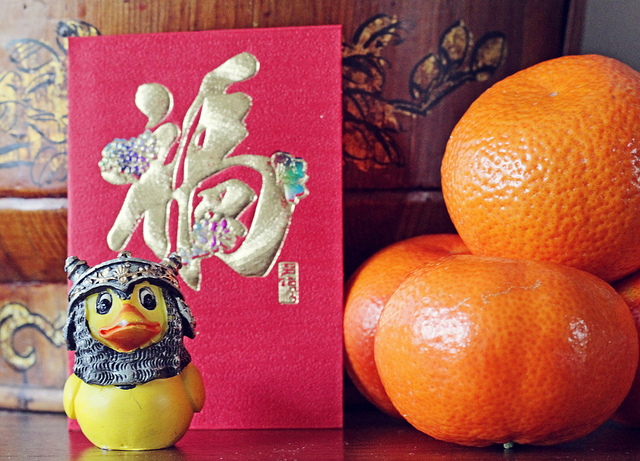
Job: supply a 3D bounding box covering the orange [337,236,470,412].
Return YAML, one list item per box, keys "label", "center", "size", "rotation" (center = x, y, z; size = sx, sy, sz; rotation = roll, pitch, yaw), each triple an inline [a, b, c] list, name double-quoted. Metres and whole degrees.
- label: "orange"
  center: [0.095, 0.125, 1.142]
  size: [0.234, 0.233, 0.235]
  rotation: [-25, -13, 4]

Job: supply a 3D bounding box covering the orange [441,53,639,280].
- label: "orange"
  center: [0.301, -0.101, 1.071]
  size: [0.294, 0.279, 0.294]
  rotation: [-18, 16, 2]

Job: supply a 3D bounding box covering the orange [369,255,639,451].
- label: "orange"
  center: [0.240, 0.157, 0.928]
  size: [0.282, 0.197, 0.271]
  rotation: [2, -7, -15]
